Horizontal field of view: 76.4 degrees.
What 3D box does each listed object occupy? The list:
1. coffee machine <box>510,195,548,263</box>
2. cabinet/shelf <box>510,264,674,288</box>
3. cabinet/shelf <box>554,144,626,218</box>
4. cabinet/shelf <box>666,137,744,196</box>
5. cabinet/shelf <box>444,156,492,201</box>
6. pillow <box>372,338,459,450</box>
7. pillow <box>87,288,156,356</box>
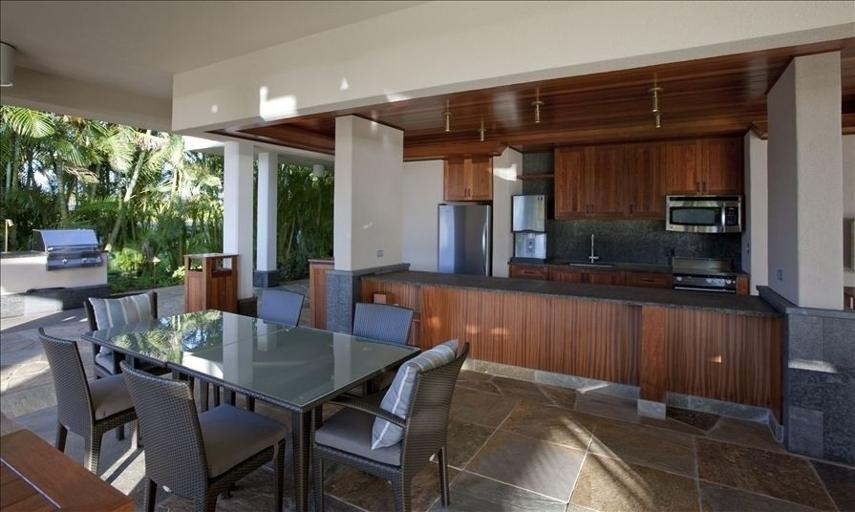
[{"bbox_3d":[1.519,-0.426,8.222,0.515,0.962,0.173,1,6,20],"label":"coffee machine"},{"bbox_3d":[2.306,0.261,7.818,2.192,0.313,0.333,1,5,21],"label":"cabinet/shelf"},{"bbox_3d":[2.418,-1.120,7.963,1.254,1.046,0.462,1,2,26],"label":"cabinet/shelf"},{"bbox_3d":[3.808,-1.227,7.386,0.912,0.728,0.402,1,1,32],"label":"cabinet/shelf"},{"bbox_3d":[0.651,-1.214,8.436,0.826,0.618,0.306,1,0,24],"label":"cabinet/shelf"},{"bbox_3d":[-0.125,1.168,4.542,0.589,0.793,1.155,7,1,24],"label":"pillow"},{"bbox_3d":[-3.276,0.686,5.849,0.284,0.514,0.772,7,4,20],"label":"pillow"}]
